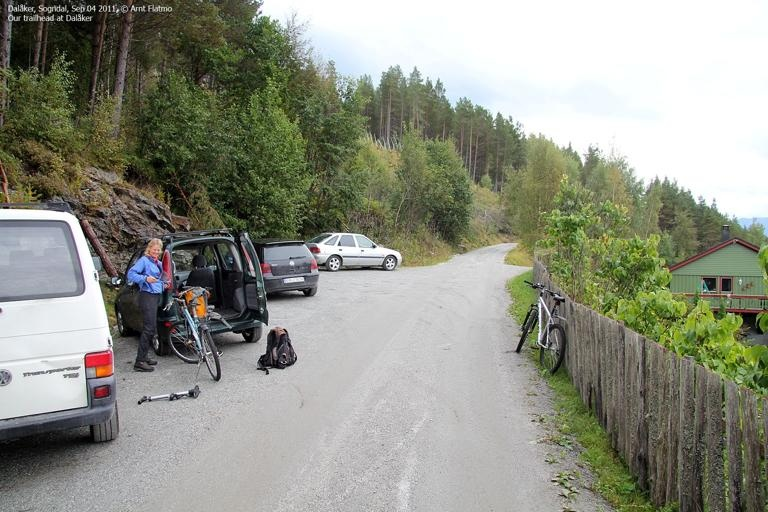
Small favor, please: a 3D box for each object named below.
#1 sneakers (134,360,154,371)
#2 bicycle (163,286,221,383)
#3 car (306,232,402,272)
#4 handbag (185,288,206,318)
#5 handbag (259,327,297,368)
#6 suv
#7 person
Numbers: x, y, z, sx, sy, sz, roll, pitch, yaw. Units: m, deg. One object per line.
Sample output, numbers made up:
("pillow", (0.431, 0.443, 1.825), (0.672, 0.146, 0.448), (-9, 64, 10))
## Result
("sneakers", (-4.540, 2.038, 10.539), (0.456, 0.222, 0.172), (1, 10, -9))
("bicycle", (-3.536, 1.492, 10.603), (0.711, 1.279, 2.016), (-17, 18, -36))
("car", (-1.609, -0.178, 27.590), (4.115, 1.598, 1.866), (-2, 6, -35))
("handbag", (-3.660, 0.903, 10.705), (0.307, 0.515, 0.374), (-32, 24, -30))
("handbag", (-2.126, 1.813, 11.189), (0.505, 0.883, 0.854), (-1, -6, 1))
("suv", (-4.432, 0.541, 12.537), (2.261, 2.132, 3.550), (-1, 9, -37))
("person", (-4.499, 0.928, 10.588), (0.567, 2.442, 0.851), (2, 12, 5))
